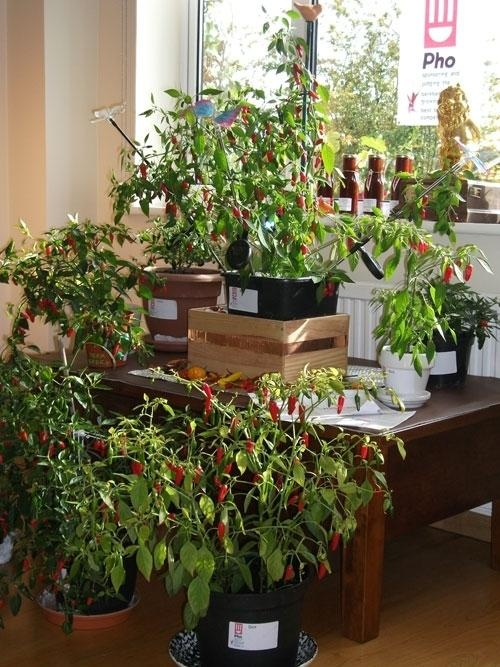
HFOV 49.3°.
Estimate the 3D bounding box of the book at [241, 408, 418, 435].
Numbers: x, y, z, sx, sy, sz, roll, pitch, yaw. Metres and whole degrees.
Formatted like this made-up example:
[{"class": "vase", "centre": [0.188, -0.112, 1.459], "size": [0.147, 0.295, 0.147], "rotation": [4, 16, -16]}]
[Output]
[{"class": "book", "centre": [0.261, 0.191, 1.234], "size": [0.198, 0.031, 0.259], "rotation": [0, -3, 21]}]
